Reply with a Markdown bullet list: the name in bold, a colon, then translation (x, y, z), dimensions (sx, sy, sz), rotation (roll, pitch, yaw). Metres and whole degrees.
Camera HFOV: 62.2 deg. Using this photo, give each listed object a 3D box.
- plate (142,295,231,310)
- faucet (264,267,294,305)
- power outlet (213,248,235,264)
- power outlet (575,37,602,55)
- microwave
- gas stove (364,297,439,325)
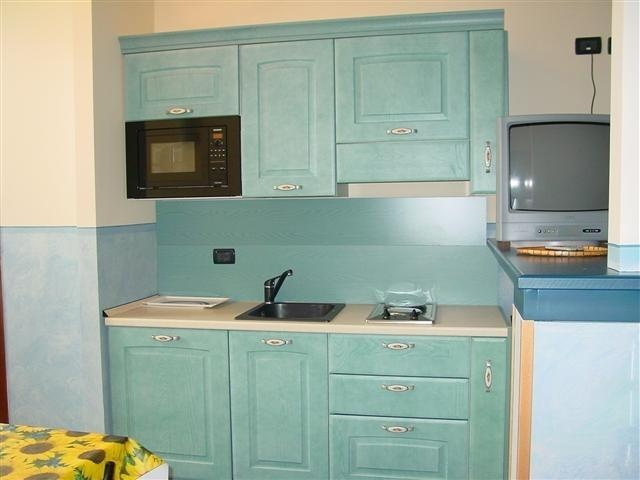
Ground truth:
- **plate**: translation (-0.812, 0.370, 3.180), dimensions (0.476, 0.040, 0.272), rotation (2, 12, 15)
- **faucet**: translation (-0.239, 0.283, 3.082), dimensions (0.143, 0.189, 0.277), rotation (-1, 13, 5)
- **power outlet**: translation (-0.586, 0.104, 3.236), dimensions (0.180, 0.083, 0.045), rotation (0, -1, 8)
- **power outlet**: translation (1.445, -1.049, 2.846), dimensions (0.133, 0.090, 0.075), rotation (2, 15, 15)
- **microwave**: translation (-0.717, -0.433, 3.119), dimensions (0.977, 0.433, 0.470), rotation (0, 0, 12)
- **gas stove**: translation (0.445, 0.381, 2.789), dimensions (0.323, 0.039, 0.388), rotation (2, 12, 14)
